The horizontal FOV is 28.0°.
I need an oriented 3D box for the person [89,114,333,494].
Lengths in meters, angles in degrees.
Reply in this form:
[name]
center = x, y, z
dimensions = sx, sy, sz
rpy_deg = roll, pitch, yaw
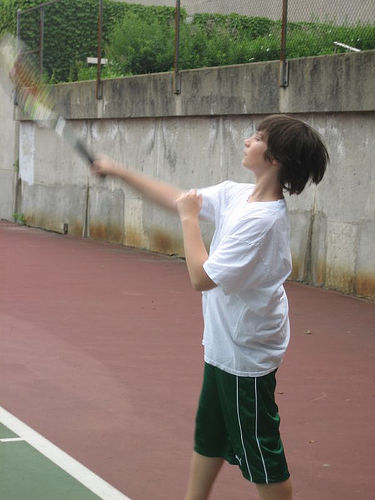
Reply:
[person]
center = 0.178, 0.210, 2.435
dimensions = 0.454, 1.296, 0.484
rpy_deg = 3, 6, 24
